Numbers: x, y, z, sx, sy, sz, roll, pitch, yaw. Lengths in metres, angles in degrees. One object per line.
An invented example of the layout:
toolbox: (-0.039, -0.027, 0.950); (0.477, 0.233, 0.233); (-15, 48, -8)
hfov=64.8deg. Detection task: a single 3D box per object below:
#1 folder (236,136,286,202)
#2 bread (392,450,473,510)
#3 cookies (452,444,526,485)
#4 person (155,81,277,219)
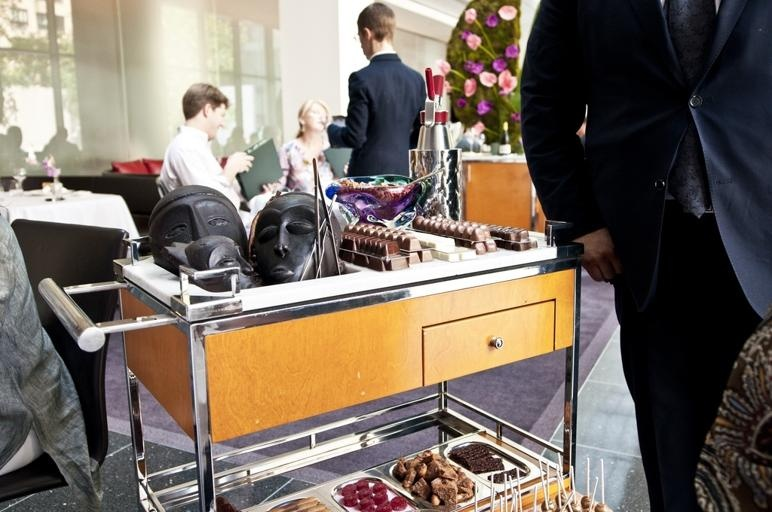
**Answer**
folder: (-0.797, -0.560, 3.880); (0.327, 0.338, 0.077); (-38, 39, -28)
bread: (0.139, 0.685, 1.881); (0.123, 0.058, 0.177); (-11, 17, -28)
cookies: (0.331, 0.672, 1.968); (0.177, 0.038, 0.256); (-6, 13, -30)
person: (-1.064, -0.637, 3.955); (0.747, 0.867, 0.563); (8, 12, -11)
